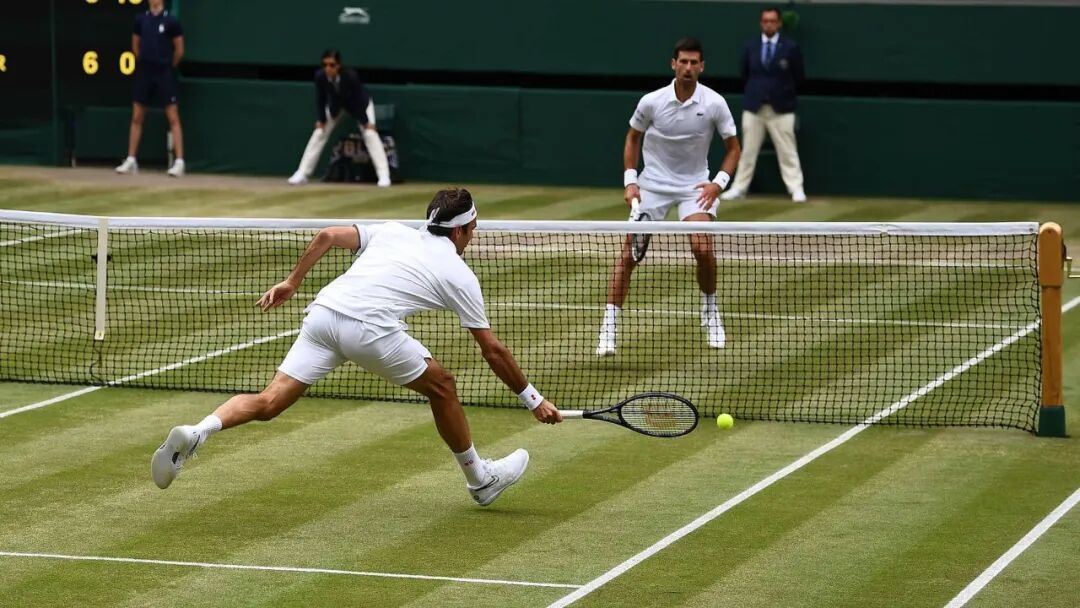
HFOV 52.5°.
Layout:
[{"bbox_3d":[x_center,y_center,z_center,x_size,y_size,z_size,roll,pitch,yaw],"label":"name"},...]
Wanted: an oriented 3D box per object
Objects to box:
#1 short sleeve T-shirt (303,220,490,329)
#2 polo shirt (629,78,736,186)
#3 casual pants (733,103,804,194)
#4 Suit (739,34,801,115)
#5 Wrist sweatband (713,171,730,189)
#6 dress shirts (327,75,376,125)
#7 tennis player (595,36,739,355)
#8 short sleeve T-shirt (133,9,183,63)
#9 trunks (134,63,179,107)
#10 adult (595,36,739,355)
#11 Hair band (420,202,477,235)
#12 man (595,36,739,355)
[{"bbox_3d":[-1.134,-0.219,8.976,1.414,0.542,0.876,28,26,32],"label":"short sleeve T-shirt"},{"bbox_3d":[1.720,-1.974,13.028,1.436,1.228,0.541,3,16,12],"label":"polo shirt"},{"bbox_3d":[4.072,-2.816,19.716,1.366,2.145,0.591,0,-27,9],"label":"casual pants"},{"bbox_3d":[4.076,-4.123,19.382,1.215,1.292,0.790,6,16,22],"label":"Suit"},{"bbox_3d":[2.143,-1.460,12.813,0.170,0.221,0.430,3,10,20],"label":"Wrist sweatband"},{"bbox_3d":[-3.548,-3.856,20.494,0.610,1.078,0.332,3,45,13],"label":"dress shirts"},{"bbox_3d":[1.553,-1.310,12.929,1.476,3.608,1.436,2,10,17],"label":"tennis player"},{"bbox_3d":[-7.255,-5.059,20.742,1.113,1.039,0.597,2,9,0],"label":"short sleeve T-shirt"},{"bbox_3d":[-7.353,-4.203,20.948,0.830,0.737,0.467,1,20,-5],"label":"trunks"},{"bbox_3d":[1.549,-1.303,12.916,1.521,3.617,1.232,0,10,9],"label":"adult"},{"bbox_3d":[-0.755,-0.716,9.115,0.328,0.133,0.244,-7,9,0],"label":"Hair band"},{"bbox_3d":[1.552,-1.310,12.927,1.465,3.608,1.415,2,11,18],"label":"man"}]
